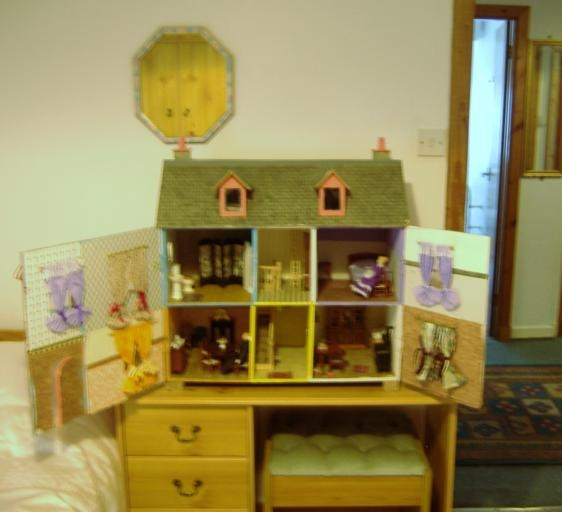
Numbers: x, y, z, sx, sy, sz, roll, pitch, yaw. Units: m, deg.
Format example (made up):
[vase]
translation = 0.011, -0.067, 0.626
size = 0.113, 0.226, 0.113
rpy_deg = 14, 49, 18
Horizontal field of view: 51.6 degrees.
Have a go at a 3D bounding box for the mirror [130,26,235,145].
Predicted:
[mirror]
translation = -0.582, -1.056, 3.481
size = 0.694, 0.829, 0.062
rpy_deg = 1, 10, 5
